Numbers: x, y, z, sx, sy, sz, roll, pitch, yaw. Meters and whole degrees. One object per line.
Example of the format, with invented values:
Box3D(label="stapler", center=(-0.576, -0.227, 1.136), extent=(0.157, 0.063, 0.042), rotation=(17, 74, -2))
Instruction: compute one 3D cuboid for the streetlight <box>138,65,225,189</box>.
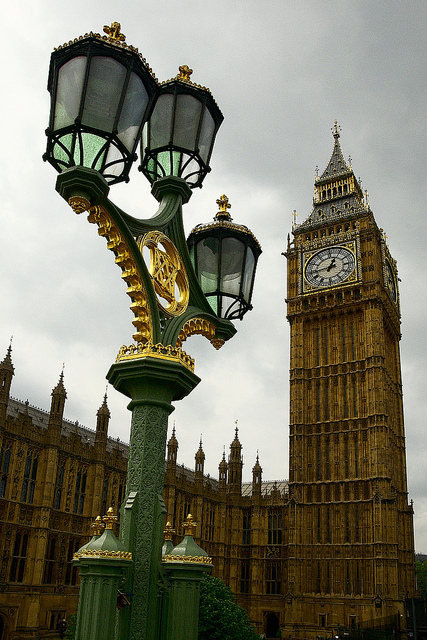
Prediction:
Box3D(label="streetlight", center=(-0.233, -1.371, 5.499), extent=(0.597, 0.772, 0.580), rotation=(6, -22, -7))

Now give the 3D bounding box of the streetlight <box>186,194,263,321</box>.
Box3D(label="streetlight", center=(0.095, -0.525, 5.929), extent=(0.612, 1.043, 0.489), rotation=(7, -22, -9))
